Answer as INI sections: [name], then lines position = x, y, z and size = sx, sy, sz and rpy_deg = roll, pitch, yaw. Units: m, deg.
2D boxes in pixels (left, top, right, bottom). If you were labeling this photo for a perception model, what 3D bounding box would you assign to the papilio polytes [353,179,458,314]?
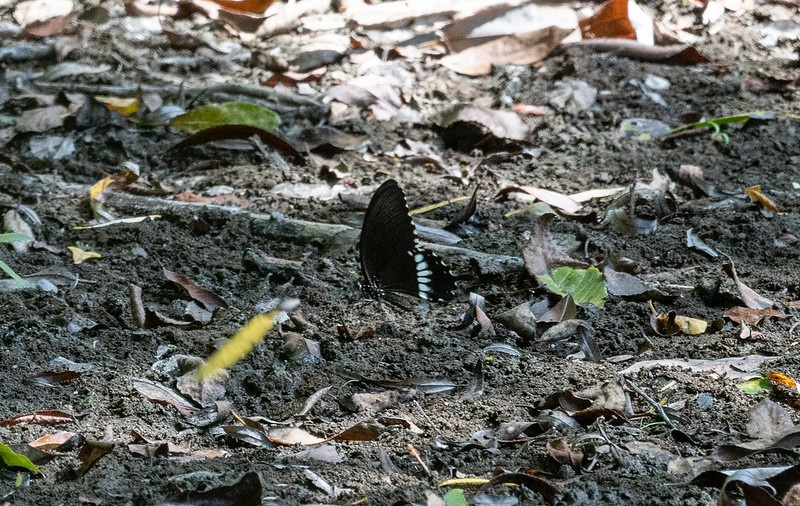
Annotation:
[papilio polytes]
position = -0.026, -0.022, 4.364
size = 0.406, 0.623, 0.439
rpy_deg = -18, 50, -14
